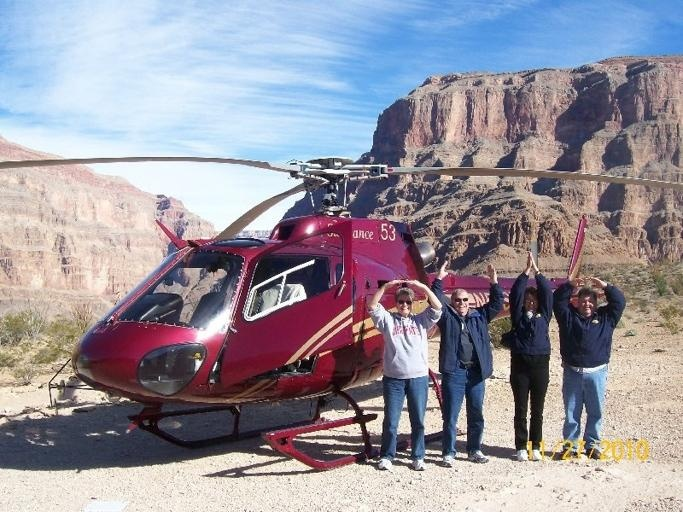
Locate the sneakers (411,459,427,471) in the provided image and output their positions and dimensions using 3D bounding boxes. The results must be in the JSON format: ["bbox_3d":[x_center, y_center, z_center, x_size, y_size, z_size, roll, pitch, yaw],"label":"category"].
[{"bbox_3d":[1.008,2.740,9.147,0.184,0.111,0.216,-3,1,3],"label":"sneakers"}]

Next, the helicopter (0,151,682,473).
[{"bbox_3d":[0.207,0.675,10.701,7.507,1.961,6.302,5,-7,-35],"label":"helicopter"}]

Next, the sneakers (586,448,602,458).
[{"bbox_3d":[3.359,2.646,9.308,0.170,0.110,0.068,8,-39,-17],"label":"sneakers"}]

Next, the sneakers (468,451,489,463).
[{"bbox_3d":[1.842,2.714,9.384,0.140,0.092,0.273,3,-7,-35],"label":"sneakers"}]
